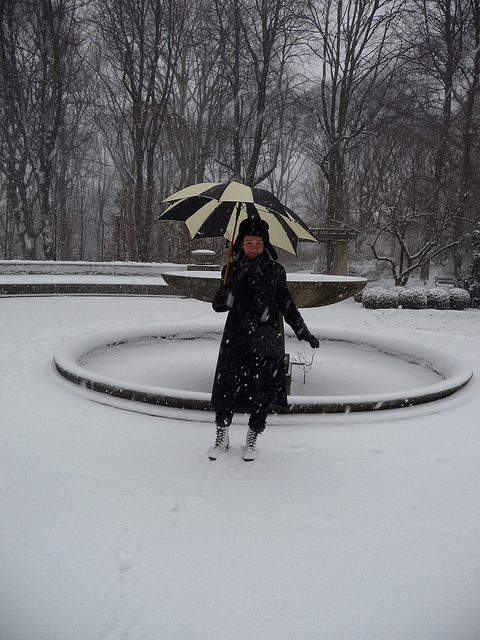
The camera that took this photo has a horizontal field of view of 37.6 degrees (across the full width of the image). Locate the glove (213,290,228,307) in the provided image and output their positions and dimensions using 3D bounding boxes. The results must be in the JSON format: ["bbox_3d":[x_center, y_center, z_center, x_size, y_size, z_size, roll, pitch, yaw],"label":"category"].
[{"bbox_3d":[-0.126,-0.126,4.377,0.084,0.103,0.052,10,16,30],"label":"glove"}]

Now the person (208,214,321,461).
[{"bbox_3d":[0.113,0.136,4.493,0.602,1.519,0.413,1,13,0],"label":"person"}]
